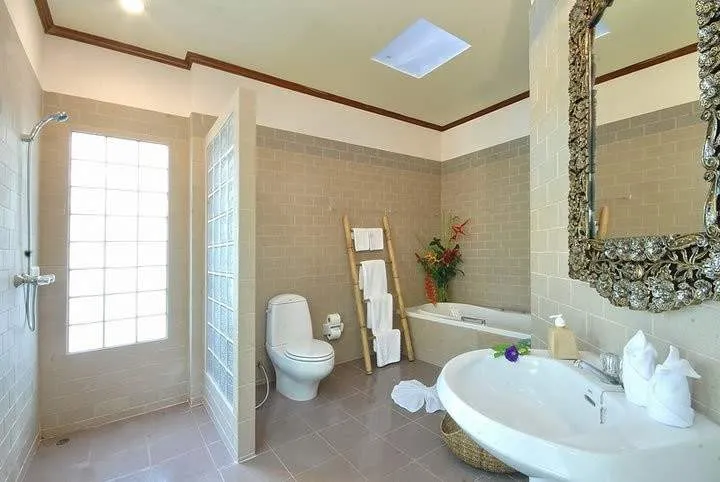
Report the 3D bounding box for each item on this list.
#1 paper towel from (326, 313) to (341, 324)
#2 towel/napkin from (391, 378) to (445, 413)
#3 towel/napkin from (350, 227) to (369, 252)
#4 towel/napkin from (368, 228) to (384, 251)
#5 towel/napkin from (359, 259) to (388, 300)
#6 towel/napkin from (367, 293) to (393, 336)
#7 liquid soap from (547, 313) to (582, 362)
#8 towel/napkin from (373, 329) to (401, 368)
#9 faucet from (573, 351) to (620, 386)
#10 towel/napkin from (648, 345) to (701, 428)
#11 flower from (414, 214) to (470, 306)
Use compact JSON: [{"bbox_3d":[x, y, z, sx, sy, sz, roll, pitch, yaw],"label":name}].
[{"bbox_3d":[-0.270,0.792,4.730,0.131,0.119,0.096,-2,10,-28],"label":"paper towel"},{"bbox_3d":[0.500,1.381,4.147,0.430,0.077,0.587,0,12,2],"label":"towel/napkin"},{"bbox_3d":[-0.010,-0.016,5.016,0.228,0.222,0.072,0,-5,-40],"label":"towel/napkin"},{"bbox_3d":[0.170,-0.014,5.108,0.259,0.271,0.032,0,-1,-44],"label":"towel/napkin"},{"bbox_3d":[0.132,0.430,4.984,0.411,0.413,0.228,-3,7,-31],"label":"towel/napkin"},{"bbox_3d":[0.234,0.786,4.984,0.298,0.388,0.188,-10,16,-37],"label":"towel/napkin"},{"bbox_3d":[1.168,0.535,2.635,0.186,0.245,0.187,-3,2,-39],"label":"liquid soap"},{"bbox_3d":[0.285,1.148,4.927,0.396,0.384,0.163,-1,3,-37],"label":"towel/napkin"},{"bbox_3d":[1.252,0.693,2.485,0.057,0.091,0.273,28,-5,-17],"label":"faucet"},{"bbox_3d":[1.446,0.671,2.165,0.211,0.322,0.195,-5,8,11],"label":"towel/napkin"},{"bbox_3d":[1.011,0.225,5.575,0.482,1.005,0.507,9,16,37],"label":"flower"}]
